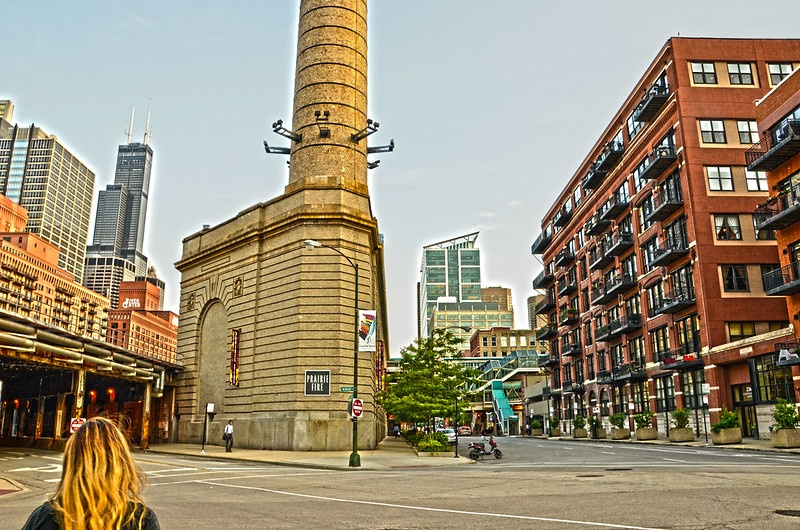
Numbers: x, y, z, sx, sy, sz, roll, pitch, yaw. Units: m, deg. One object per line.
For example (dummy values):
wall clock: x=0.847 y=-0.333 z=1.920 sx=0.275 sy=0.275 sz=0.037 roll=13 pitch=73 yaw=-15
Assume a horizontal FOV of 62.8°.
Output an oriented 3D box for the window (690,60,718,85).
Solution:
window: x=27.318 y=-17.239 z=59.029 sx=2.463 sy=2.211 sz=0.182 roll=3 pitch=-9 yaw=3

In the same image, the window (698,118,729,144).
window: x=27.576 y=-11.773 z=57.907 sx=2.640 sy=2.603 sz=0.287 roll=1 pitch=-22 yaw=0

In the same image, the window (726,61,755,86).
window: x=30.793 y=-17.266 z=59.367 sx=2.612 sy=2.838 sz=0.287 roll=3 pitch=-27 yaw=4

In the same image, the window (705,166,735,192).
window: x=27.734 y=-7.414 z=56.946 sx=2.508 sy=2.695 sz=0.222 roll=1 pitch=-19 yaw=0

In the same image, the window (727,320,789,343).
window: x=29.391 y=5.349 z=54.306 sx=4.453 sy=1.632 sz=0.451 roll=-2 pitch=-19 yaw=2

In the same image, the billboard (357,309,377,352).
billboard: x=-2.052 y=3.894 z=39.704 sx=1.126 sy=2.471 sz=0.637 roll=4 pitch=-20 yaw=-15

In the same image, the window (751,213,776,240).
window: x=29.065 y=-3.103 z=52.388 sx=2.450 sy=2.300 sz=0.113 roll=-2 pitch=3 yaw=-15

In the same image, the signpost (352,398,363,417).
signpost: x=-2.414 y=7.665 z=35.617 sx=0.480 sy=1.009 sz=0.641 roll=-15 pitch=-23 yaw=35

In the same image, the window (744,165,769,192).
window: x=29.988 y=-7.204 z=55.105 sx=2.709 sy=2.711 sz=0.283 roll=2 pitch=-6 yaw=5

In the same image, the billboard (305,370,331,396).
billboard: x=-5.574 y=7.886 z=43.839 sx=1.891 sy=1.639 sz=0.187 roll=-1 pitch=-27 yaw=-1

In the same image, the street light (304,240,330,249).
street light: x=-5.401 y=-1.354 z=42.029 sx=0.811 sy=0.373 sz=0.985 roll=-5 pitch=-9 yaw=36

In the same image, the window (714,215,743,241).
window: x=28.059 y=-3.136 z=56.089 sx=2.420 sy=2.753 sz=0.192 roll=2 pitch=-19 yaw=-1
